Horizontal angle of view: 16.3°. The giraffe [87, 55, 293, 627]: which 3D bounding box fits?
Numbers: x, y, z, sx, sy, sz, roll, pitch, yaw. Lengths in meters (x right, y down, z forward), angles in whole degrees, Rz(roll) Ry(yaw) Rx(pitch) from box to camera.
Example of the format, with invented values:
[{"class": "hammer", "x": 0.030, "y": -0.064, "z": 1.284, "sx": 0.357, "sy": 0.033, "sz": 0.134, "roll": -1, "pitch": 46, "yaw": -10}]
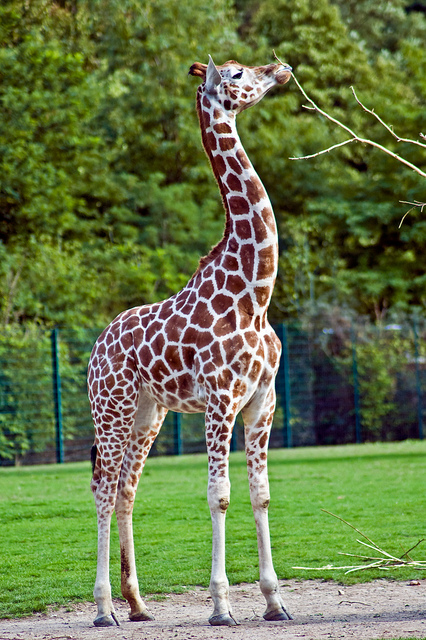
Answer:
[{"class": "giraffe", "x": -0.160, "y": 0.156, "z": 11.277, "sx": 1.480, "sy": 4.143, "sz": 1.091, "roll": -1, "pitch": 5, "yaw": 10}]
